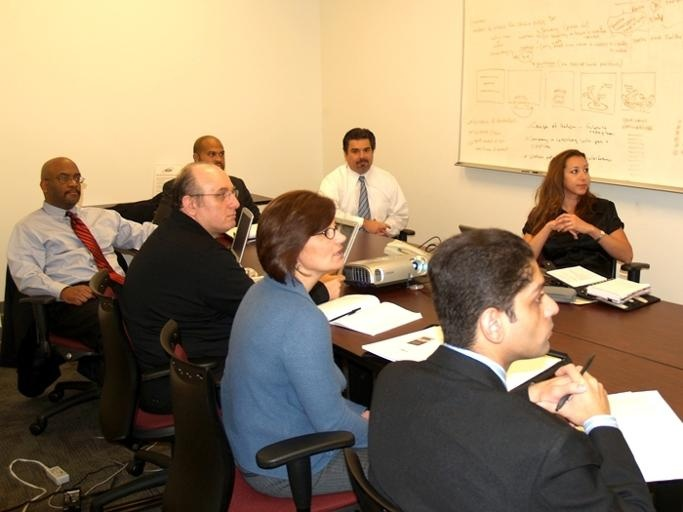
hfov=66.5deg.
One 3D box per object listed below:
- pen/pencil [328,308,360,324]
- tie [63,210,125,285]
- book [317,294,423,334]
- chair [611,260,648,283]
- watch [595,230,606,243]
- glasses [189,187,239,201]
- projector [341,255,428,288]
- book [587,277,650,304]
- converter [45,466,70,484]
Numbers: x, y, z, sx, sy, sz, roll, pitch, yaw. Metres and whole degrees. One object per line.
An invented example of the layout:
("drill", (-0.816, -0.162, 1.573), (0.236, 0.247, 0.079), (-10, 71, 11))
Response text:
("pen/pencil", (0.002, 0.265, 2.302), (0.153, 0.016, 0.022), (-22, 26, -30))
("tie", (-1.676, -0.058, 3.472), (0.180, 0.579, 0.045), (-38, 1, -33))
("book", (0.137, 0.267, 2.305), (0.275, 0.036, 0.190), (12, 19, 42))
("chair", (1.834, 0.095, 3.311), (0.155, 0.153, 0.126), (9, 19, 39))
("watch", (1.612, -0.121, 3.249), (0.029, 0.068, 0.060), (25, 10, -25))
("glasses", (-0.667, -0.313, 2.641), (0.134, 0.035, 0.125), (0, 2, 30))
("projector", (0.246, 0.047, 2.691), (0.333, 0.089, 0.199), (-9, 9, -41))
("book", (1.285, 0.163, 2.488), (0.165, 0.041, 0.169), (-9, 9, -32))
("converter", (-1.424, 1.088, 2.624), (0.054, 0.033, 0.179), (-7, 15, -44))
